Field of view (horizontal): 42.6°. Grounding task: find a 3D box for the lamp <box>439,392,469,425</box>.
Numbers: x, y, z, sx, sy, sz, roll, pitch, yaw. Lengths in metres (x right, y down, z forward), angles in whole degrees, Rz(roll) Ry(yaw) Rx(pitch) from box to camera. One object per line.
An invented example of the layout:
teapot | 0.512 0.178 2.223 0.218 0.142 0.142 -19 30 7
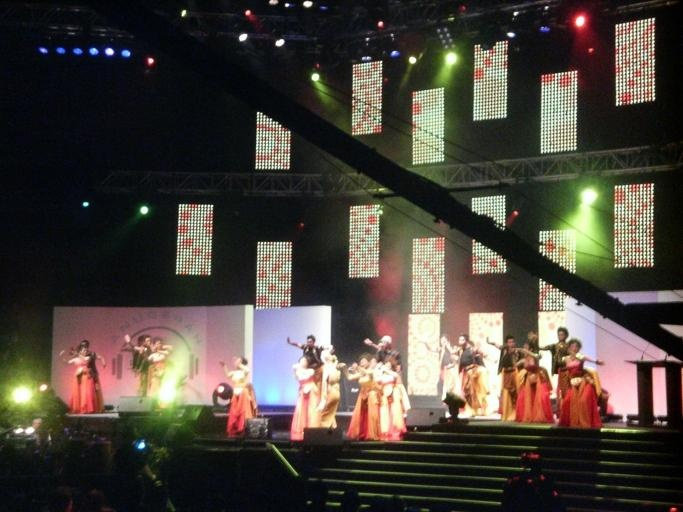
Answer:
lamp | 2.290 3.047 17.584 0.514 0.579 0.498 5 -9 -28
